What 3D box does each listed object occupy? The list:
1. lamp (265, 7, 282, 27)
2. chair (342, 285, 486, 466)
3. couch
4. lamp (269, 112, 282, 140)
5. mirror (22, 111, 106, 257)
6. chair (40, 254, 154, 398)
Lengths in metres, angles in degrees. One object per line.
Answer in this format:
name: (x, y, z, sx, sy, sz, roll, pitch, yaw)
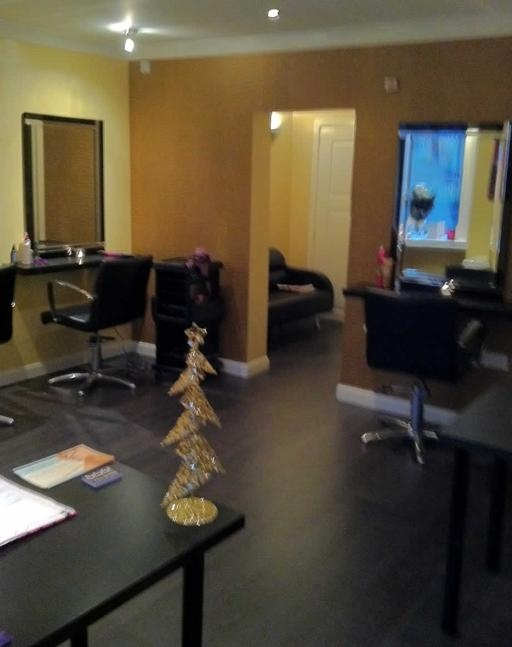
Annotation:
lamp: (0.113, -1.940, 3.211, 0.103, 0.104, 0.101, 0, 28, -1)
chair: (0.975, 0.304, 3.087, 0.633, 1.036, 0.668, 10, 11, 39)
couch: (0.571, -0.380, 6.218, 0.492, 0.647, 0.916, 10, 18, 35)
lamp: (0.264, -2.516, 6.432, 0.091, 0.318, 0.250, 4, 9, 13)
mirror: (-1.647, -1.198, 4.461, 0.666, 1.248, 0.039, -4, 37, -22)
chair: (-1.325, -0.021, 4.157, 0.813, 1.094, 0.696, 9, 11, 37)
